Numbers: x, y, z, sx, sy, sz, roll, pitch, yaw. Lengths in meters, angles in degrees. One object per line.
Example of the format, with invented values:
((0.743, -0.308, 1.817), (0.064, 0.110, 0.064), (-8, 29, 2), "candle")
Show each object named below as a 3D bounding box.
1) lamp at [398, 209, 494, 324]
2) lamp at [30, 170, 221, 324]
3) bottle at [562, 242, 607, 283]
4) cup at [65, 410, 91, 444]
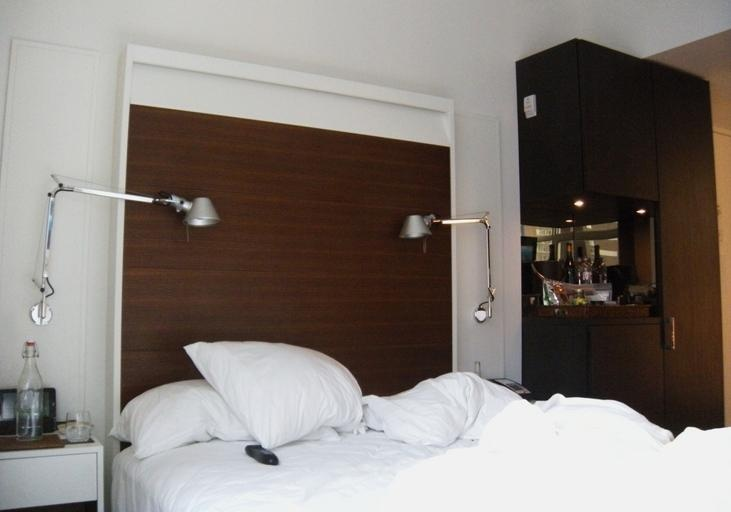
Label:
((0.671, 0.103, 4.049), (0.895, 0.827, 0.288), (0, -3, -36), "lamp")
((-1.394, -0.051, 3.228), (0.987, 0.869, 0.320), (-2, -3, -6), "lamp")
((1.784, 0.066, 4.614), (0.298, 0.289, 0.100), (4, -12, -18), "bottle")
((-1.471, 0.884, 2.901), (0.142, 0.154, 0.142), (-1, -7, 0), "cup")
